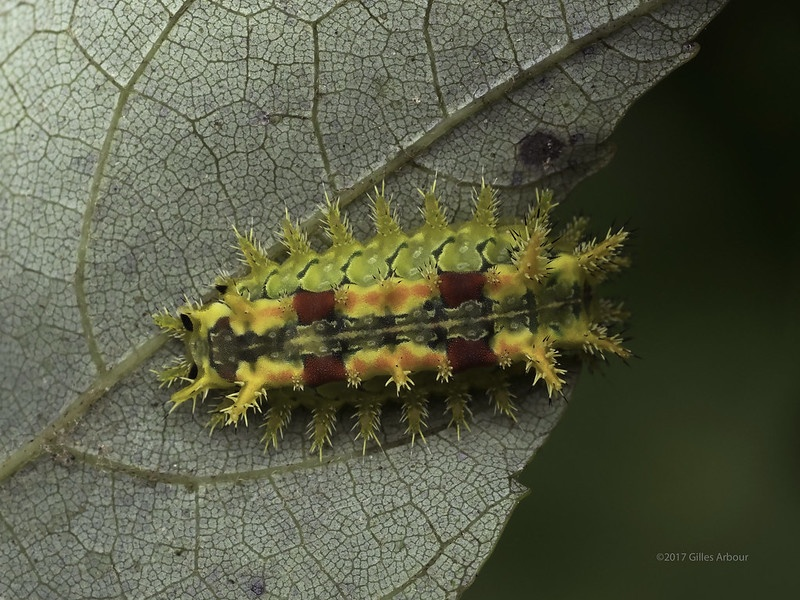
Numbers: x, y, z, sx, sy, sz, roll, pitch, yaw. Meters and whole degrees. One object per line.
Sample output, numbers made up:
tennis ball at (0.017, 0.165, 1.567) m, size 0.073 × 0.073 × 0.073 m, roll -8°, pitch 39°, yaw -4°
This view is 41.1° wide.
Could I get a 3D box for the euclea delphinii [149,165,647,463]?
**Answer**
euclea delphinii at (-0.037, 0.097, 8.364) m, size 3.488 × 0.993 × 1.850 m, roll -5°, pitch 96°, yaw -3°
